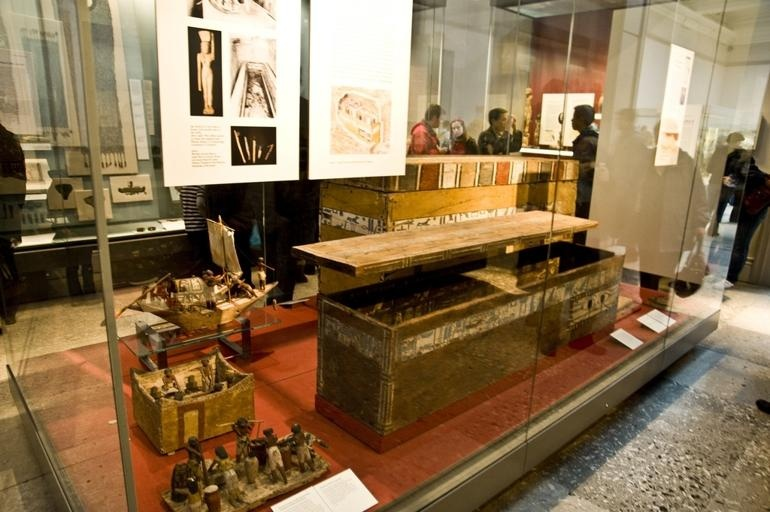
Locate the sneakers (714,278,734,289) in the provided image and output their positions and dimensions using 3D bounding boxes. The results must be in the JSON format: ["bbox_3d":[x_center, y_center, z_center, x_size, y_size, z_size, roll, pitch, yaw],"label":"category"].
[{"bbox_3d":[4.039,0.323,6.259,0.139,0.047,0.149,5,21,41],"label":"sneakers"}]
